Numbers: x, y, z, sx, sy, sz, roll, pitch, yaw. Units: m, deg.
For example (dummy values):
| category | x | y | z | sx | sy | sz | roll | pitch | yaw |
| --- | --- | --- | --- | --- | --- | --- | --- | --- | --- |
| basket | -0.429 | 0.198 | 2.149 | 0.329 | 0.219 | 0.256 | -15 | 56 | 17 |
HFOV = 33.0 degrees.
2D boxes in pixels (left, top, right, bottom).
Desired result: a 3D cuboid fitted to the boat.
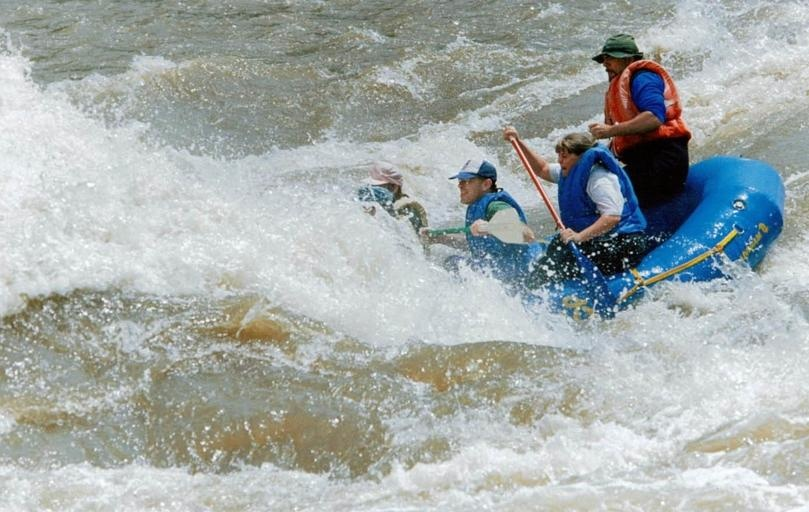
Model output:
| category | x | y | z | sx | sy | sz | roll | pitch | yaw |
| --- | --- | --- | --- | --- | --- | --- | --- | --- | --- |
| boat | 3.172 | -0.141 | 16.484 | 3.010 | 0.902 | 2.036 | -27 | 27 | 0 |

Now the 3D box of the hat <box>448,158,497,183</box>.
| category | x | y | z | sx | sy | sz | roll | pitch | yaw |
| --- | --- | --- | --- | --- | --- | --- | --- | --- | --- |
| hat | 0.866 | -1.035 | 16.643 | 0.498 | 0.184 | 0.277 | 1 | 1 | -6 |

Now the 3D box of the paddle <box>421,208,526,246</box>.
| category | x | y | z | sx | sy | sz | roll | pitch | yaw |
| --- | --- | --- | --- | --- | --- | --- | --- | --- | --- |
| paddle | 0.851 | -0.330 | 16.429 | 1.237 | 0.370 | 0.138 | -2 | 5 | 27 |

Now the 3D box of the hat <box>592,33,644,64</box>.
| category | x | y | z | sx | sy | sz | roll | pitch | yaw |
| --- | --- | --- | --- | --- | --- | --- | --- | --- | --- |
| hat | 2.588 | -2.518 | 16.645 | 0.380 | 0.384 | 0.437 | -31 | 40 | -30 |

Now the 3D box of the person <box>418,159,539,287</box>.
| category | x | y | z | sx | sy | sz | roll | pitch | yaw |
| --- | --- | --- | --- | --- | --- | --- | --- | --- | --- |
| person | 0.912 | -0.353 | 16.939 | 1.245 | 1.784 | 1.545 | -5 | -9 | -10 |

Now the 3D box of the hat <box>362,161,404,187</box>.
| category | x | y | z | sx | sy | sz | roll | pitch | yaw |
| --- | --- | --- | --- | --- | --- | --- | --- | --- | --- |
| hat | -0.256 | -1.014 | 16.803 | 0.437 | 0.174 | 0.296 | 9 | 7 | -1 |
